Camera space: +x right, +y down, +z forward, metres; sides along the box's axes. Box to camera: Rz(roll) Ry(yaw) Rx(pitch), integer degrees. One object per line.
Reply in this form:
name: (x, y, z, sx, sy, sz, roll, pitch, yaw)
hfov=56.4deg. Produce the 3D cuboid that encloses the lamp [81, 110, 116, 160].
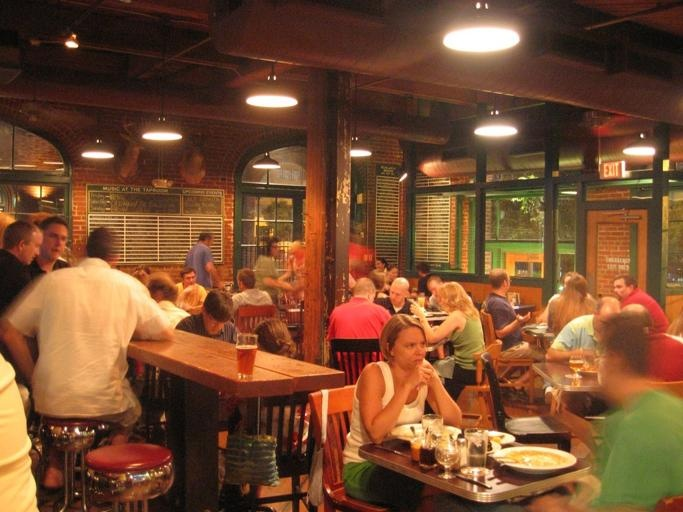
lamp: (-3.381, -1.695, 8.943, 0.465, 0.649, 1.258, 3, -1, -23)

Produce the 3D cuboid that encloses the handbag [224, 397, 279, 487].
handbag: (-0.489, 0.999, 3.504, 0.293, 0.519, 0.099, 2, -33, -2)

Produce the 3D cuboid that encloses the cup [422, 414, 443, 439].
cup: (0.450, 0.854, 3.188, 0.082, 0.088, 0.083, 1, -6, 0)

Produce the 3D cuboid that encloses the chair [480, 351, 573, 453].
chair: (1.273, 1.101, 4.806, 0.657, 0.958, 0.576, -6, 0, 4)

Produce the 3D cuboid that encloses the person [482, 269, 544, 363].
person: (2.053, 0.776, 7.453, 0.652, 1.180, 0.603, -1, -1, 12)

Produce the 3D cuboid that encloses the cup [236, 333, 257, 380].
cup: (-0.460, 0.480, 3.093, 0.088, 0.219, 0.151, 3, 0, -6)

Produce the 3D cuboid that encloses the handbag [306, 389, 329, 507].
handbag: (-0.125, 1.079, 3.607, 0.092, 0.651, 0.111, 2, 0, 0)

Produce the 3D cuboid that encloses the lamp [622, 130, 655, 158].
lamp: (4.055, -1.514, 8.661, 0.377, 0.351, 0.517, 2, -1, 16)

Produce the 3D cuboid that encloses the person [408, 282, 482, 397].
person: (1.112, 0.956, 6.464, 0.728, 1.384, 0.552, -3, -2, 30)
